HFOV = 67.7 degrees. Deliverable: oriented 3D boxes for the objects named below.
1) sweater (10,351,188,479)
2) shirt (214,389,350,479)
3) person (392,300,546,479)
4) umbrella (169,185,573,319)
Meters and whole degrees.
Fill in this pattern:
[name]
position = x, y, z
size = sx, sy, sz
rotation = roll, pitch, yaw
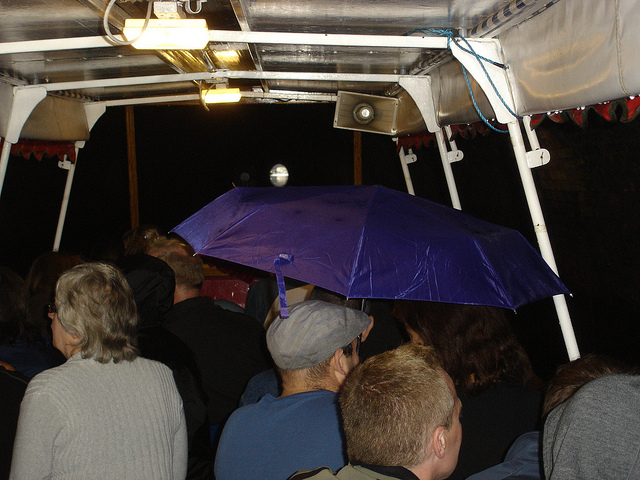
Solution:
[sweater]
position = -0.899, 0.738, 1.962
size = 0.648, 0.490, 0.342
rotation = 3, 0, -40
[shirt]
position = -0.142, 0.788, 1.903
size = 0.601, 0.198, 0.342
rotation = -10, 39, 4
[person]
position = 0.756, 0.760, 2.206
size = 0.766, 0.775, 0.225
rotation = 20, -46, -18
[umbrella]
position = 0.255, -0.006, 2.486
size = 1.923, 0.699, 0.922
rotation = -2, -2, 2
